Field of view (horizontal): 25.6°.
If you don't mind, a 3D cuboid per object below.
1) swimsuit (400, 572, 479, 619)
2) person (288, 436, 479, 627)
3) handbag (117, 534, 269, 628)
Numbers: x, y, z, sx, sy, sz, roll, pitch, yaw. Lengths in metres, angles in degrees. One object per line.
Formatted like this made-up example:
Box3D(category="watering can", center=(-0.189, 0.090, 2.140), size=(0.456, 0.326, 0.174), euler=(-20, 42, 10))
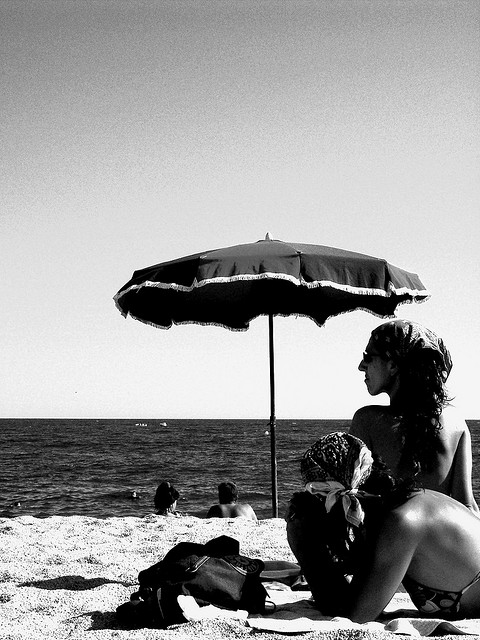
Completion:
Box3D(category="swimsuit", center=(0.780, 1.086, 4.119), size=(0.291, 0.186, 0.197), euler=(-2, -9, 8))
Box3D(category="person", center=(0.526, 0.859, 4.157), size=(0.764, 0.407, 0.525), euler=(0, 6, 26))
Box3D(category="handbag", center=(-0.151, 1.145, 4.495), size=(0.486, 0.295, 0.675), euler=(24, 1, 18))
